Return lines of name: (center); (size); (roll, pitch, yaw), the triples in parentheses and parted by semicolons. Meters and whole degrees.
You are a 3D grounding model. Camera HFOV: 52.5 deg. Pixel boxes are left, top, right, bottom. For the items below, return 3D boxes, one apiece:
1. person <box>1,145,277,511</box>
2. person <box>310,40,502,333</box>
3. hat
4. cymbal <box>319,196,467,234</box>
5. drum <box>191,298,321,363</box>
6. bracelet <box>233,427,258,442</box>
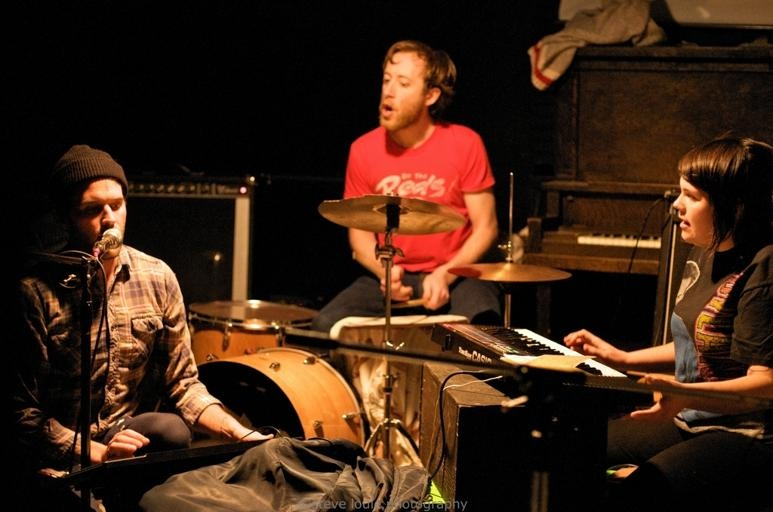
person: (-1.410, 0.318, 4.088); (0.990, 1.777, 0.651); (-1, 2, -26)
person: (0.189, -0.518, 5.235); (1.108, 1.862, 0.771); (0, 2, 6)
hat: (-1.587, -0.456, 4.194); (0.358, 0.218, 0.335); (-10, 11, -7)
cymbal: (0.025, -0.227, 4.513); (0.824, 0.205, 0.496); (0, 1, -6)
drum: (-0.895, 0.459, 4.991); (0.543, 0.292, 0.518); (1, 6, 0)
bracelet: (-0.724, 0.916, 4.018); (0.071, 0.027, 0.051); (-32, 12, 18)
